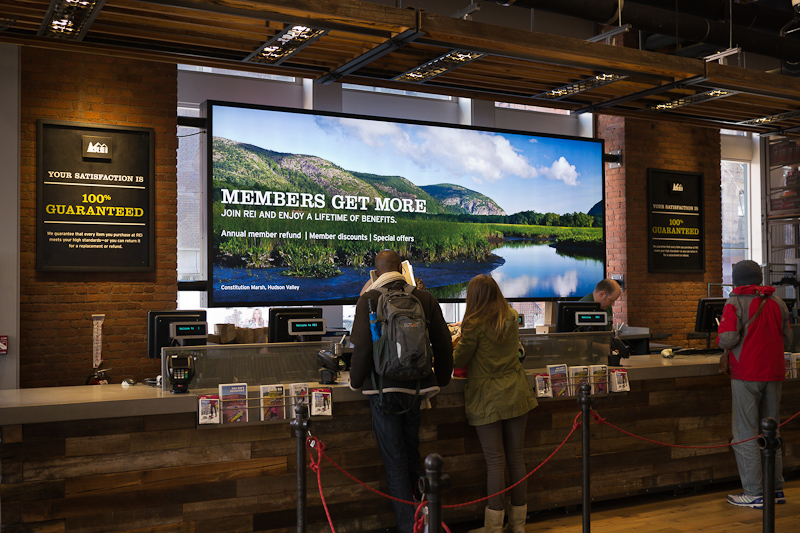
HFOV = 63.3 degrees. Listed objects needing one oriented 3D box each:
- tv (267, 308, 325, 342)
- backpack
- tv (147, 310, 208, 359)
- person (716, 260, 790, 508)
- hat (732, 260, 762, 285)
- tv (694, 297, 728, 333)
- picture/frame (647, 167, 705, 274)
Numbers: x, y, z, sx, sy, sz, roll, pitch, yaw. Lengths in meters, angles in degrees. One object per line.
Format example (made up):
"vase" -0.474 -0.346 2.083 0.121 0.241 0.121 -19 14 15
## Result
"tv" -0.872 0.483 5.599 0.614 0.429 0.288 0 -7 -6
"backpack" 0.001 0.500 4.754 0.413 0.581 0.215 -4 -1 -4
"tv" -1.824 0.546 5.265 0.493 0.263 0.461 -3 -1 -14
"person" 3.327 1.067 6.071 0.665 2.373 0.425 -3 -2 -31
"hat" 3.325 0.048 6.188 0.238 0.223 0.270 1 7 8
"tv" 3.252 0.510 6.749 0.623 0.366 0.078 0 2 -20
"picture/frame" 4.413 -0.733 10.340 1.185 1.669 0.137 -3 -2 -22
